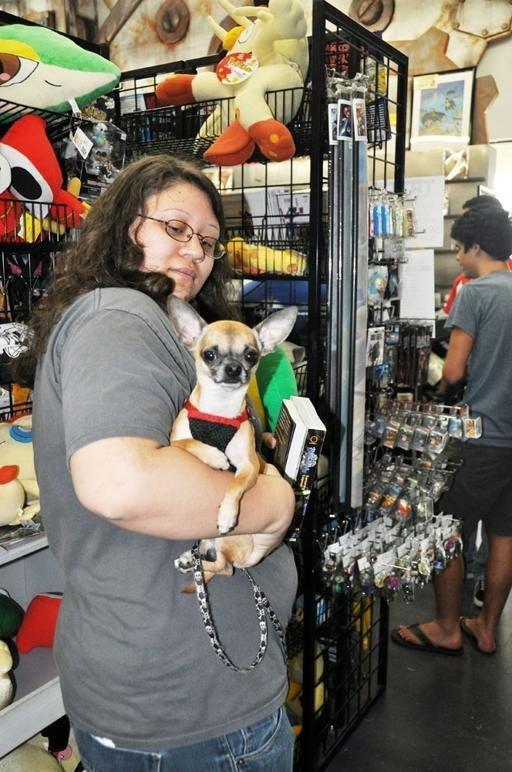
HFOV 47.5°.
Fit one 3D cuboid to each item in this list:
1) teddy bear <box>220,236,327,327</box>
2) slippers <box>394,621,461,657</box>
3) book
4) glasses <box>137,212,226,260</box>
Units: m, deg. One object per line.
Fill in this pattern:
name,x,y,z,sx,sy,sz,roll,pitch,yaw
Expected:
teddy bear,0.142,-0.513,2.660,0.627,0.346,0.138,10,25,44
slippers,0.902,1.345,3.040,0.313,0.092,0.127,8,16,28
book,0.042,0.138,1.122,0.059,0.242,0.180,0,37,-16
glasses,-0.164,-0.310,1.190,0.091,0.027,0.087,23,4,38
